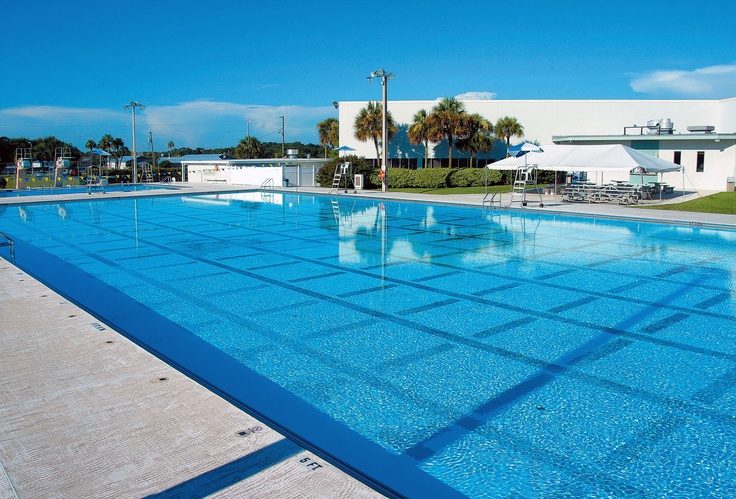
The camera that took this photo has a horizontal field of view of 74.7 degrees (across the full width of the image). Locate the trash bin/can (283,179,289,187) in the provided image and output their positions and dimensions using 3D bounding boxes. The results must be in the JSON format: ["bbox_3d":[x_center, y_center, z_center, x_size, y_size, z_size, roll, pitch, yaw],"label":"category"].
[{"bbox_3d":[-5.987,-4.867,35.162,0.478,0.476,0.477,2,4,35],"label":"trash bin/can"}]
